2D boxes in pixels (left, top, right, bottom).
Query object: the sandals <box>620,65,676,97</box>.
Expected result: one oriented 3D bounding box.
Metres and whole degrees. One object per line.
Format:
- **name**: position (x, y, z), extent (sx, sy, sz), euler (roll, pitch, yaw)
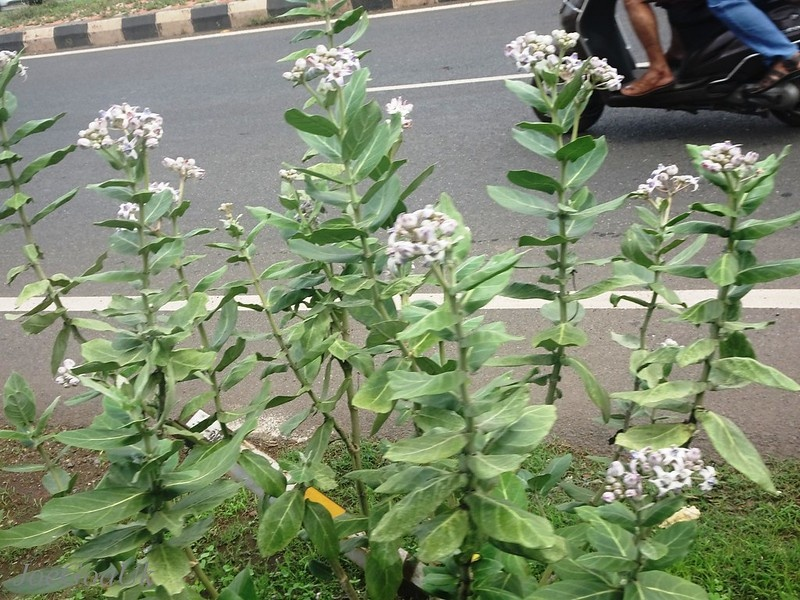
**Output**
- **sandals**: position (2.470, -2.147, 5.905), extent (0.596, 0.187, 0.207), euler (-10, 30, 23)
